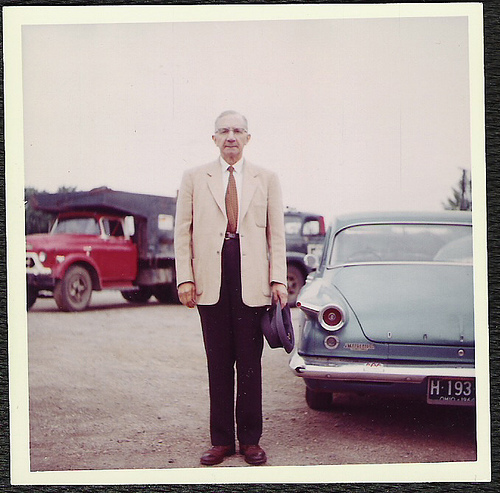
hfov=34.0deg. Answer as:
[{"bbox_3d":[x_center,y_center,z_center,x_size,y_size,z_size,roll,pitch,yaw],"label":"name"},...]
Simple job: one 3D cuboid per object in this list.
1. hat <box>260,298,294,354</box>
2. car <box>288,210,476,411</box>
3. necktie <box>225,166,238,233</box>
[{"bbox_3d":[0.159,0.486,4.956,0.200,0.319,0.188,0,2,3],"label":"hat"},{"bbox_3d":[1.029,0.399,6.137,1.242,1.282,2.494,3,4,3],"label":"car"},{"bbox_3d":[-0.115,-0.291,5.029,0.078,0.411,0.083,0,1,-3],"label":"necktie"}]
